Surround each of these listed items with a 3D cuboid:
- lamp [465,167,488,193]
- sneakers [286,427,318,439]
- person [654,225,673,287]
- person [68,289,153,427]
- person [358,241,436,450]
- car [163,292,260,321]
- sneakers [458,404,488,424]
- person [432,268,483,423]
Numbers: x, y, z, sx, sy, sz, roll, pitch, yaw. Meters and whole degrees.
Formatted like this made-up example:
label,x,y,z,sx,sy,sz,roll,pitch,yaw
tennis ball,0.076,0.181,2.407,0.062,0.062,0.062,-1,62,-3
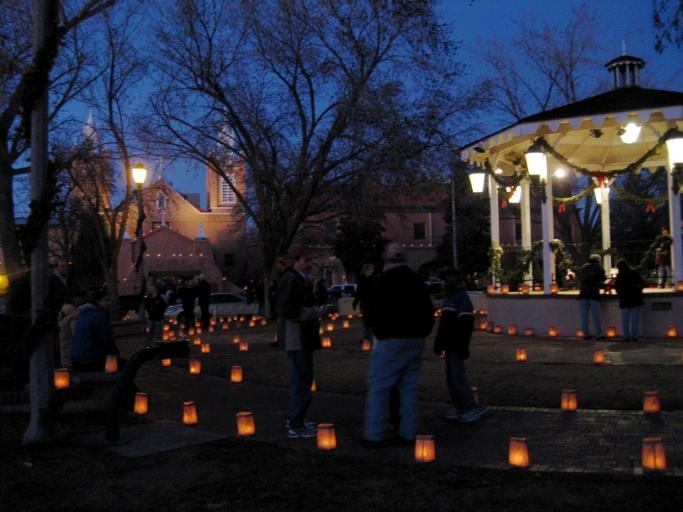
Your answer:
label,x,y,z,sx,sy,sz,roll,pitch,yaw
lamp,3.830,-2.208,21.849,0.528,0.762,1.154,-3,-5,10
sneakers,-0.529,2.286,10.075,0.370,0.157,0.143,-3,0,-3
person,8.296,0.044,20.006,0.451,1.527,0.854,-4,-5,23
person,-3.872,1.546,12.689,0.790,1.838,1.052,-9,-7,33
person,0.695,1.164,9.665,0.915,2.310,0.311,-2,-5,1
car,-6.026,2.330,36.545,3.705,1.240,1.537,1,-4,-11
sneakers,1.781,2.162,10.588,0.450,0.190,0.162,-8,-10,-37
person,1.597,1.216,10.664,0.653,2.098,0.328,-2,-5,7
